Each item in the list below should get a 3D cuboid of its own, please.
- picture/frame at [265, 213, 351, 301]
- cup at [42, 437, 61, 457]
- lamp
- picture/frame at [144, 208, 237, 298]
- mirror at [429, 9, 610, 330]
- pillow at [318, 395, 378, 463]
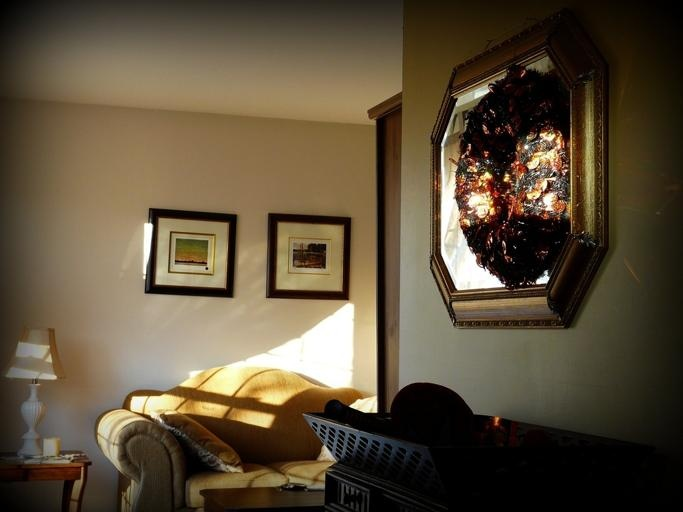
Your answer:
[{"bbox_3d":[-0.252,0.017,4.092,0.546,0.590,0.046,3,-7,-22],"label":"picture/frame"},{"bbox_3d":[-1.530,1.004,3.187,0.096,0.111,0.097,2,-1,0],"label":"cup"},{"bbox_3d":[-1.705,0.753,3.300,0.265,0.701,0.571,3,3,-25],"label":"lamp"},{"bbox_3d":[-1.015,-0.013,3.900,0.536,0.582,0.059,1,-2,-14],"label":"picture/frame"},{"bbox_3d":[0.420,-0.197,1.366,0.055,0.739,0.737,3,-9,-19],"label":"mirror"},{"bbox_3d":[0.080,1.020,3.670,0.247,0.340,0.971,-2,0,15],"label":"pillow"}]
